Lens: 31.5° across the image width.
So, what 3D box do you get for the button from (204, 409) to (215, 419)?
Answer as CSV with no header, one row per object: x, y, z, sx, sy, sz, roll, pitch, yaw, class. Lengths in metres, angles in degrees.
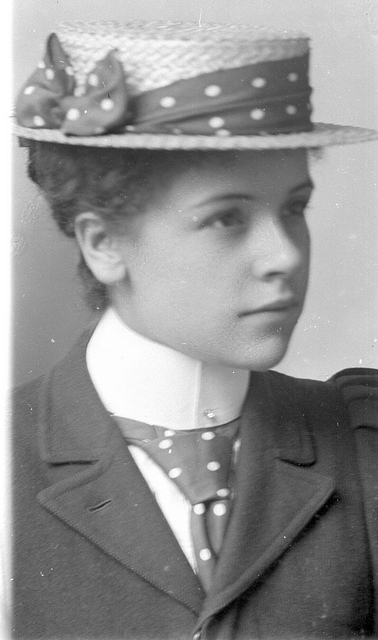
0.039,0.179,1.291,0.020,0.004,0.018,1,87,-17,button

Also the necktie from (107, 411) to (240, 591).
0.034,0.334,1.273,0.311,0.057,0.343,-4,82,-26,necktie
